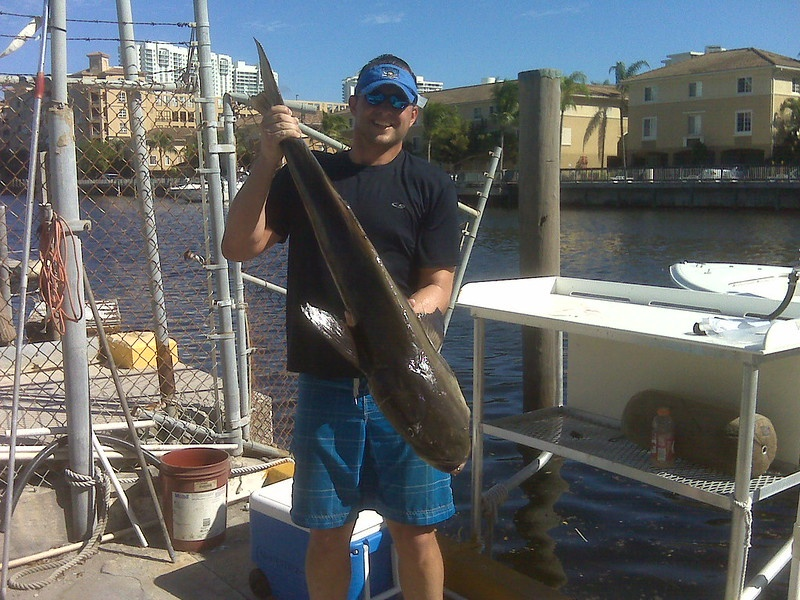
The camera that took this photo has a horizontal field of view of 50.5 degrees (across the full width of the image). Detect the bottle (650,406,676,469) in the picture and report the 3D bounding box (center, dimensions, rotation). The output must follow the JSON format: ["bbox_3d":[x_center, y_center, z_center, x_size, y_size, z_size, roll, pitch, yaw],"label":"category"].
[{"bbox_3d":[1.644,0.853,5.295,0.135,0.297,0.232,-2,13,18],"label":"bottle"}]

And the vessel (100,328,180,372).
[{"bbox_3d":[-2.649,0.512,8.540,0.656,0.326,0.617,-5,15,-36],"label":"vessel"}]

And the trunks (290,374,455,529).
[{"bbox_3d":[-0.132,0.720,4.080,0.754,0.742,0.345,-1,2,-2],"label":"trunks"}]

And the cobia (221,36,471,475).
[{"bbox_3d":[-0.104,-0.102,4.184,0.668,2.513,0.574,-25,-10,2],"label":"cobia"}]

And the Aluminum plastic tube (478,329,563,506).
[{"bbox_3d":[1.091,1.099,7.617,0.233,1.721,0.150,26,-26,-10],"label":"Aluminum plastic tube"}]
